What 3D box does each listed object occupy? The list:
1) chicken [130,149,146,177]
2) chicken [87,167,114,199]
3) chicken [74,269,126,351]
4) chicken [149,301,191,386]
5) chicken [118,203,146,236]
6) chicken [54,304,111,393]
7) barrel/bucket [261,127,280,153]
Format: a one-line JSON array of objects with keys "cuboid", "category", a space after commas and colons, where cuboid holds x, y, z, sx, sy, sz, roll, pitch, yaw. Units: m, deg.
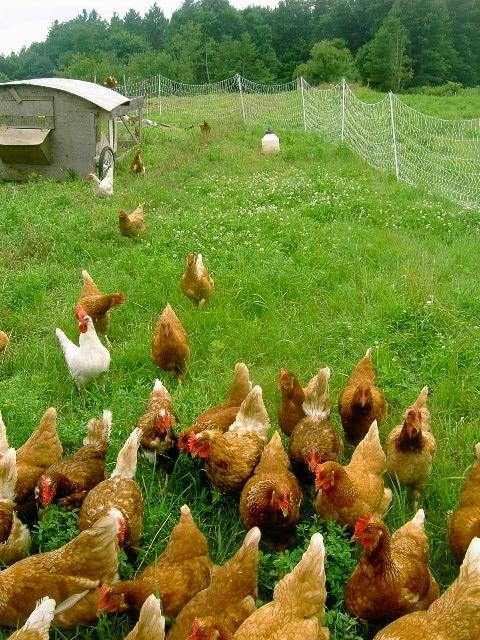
[{"cuboid": [-2.117, -3.193, 13.206, 0.215, 0.868, 0.422, 2, 9, -5], "category": "chicken"}, {"cuboid": [-2.359, -2.363, 11.097, 0.345, 0.436, 0.833, 1, 17, 7], "category": "chicken"}, {"cuboid": [-1.268, -0.072, 5.811, 0.208, 0.564, 0.628, -11, 40, -40], "category": "chicken"}, {"cuboid": [-0.538, 0.206, 5.192, 0.247, 0.679, 0.642, 3, 17, 5], "category": "chicken"}, {"cuboid": [-1.547, -1.362, 8.899, 0.308, 0.405, 0.697, 5, 18, 21], "category": "chicken"}, {"cuboid": [-1.188, 0.215, 4.858, 0.317, 0.679, 0.420, -9, 21, -21], "category": "chicken"}, {"cuboid": [0.698, -4.146, 14.871, 0.363, 0.774, 0.509, -2, 25, 0], "category": "barrel/bucket"}]
